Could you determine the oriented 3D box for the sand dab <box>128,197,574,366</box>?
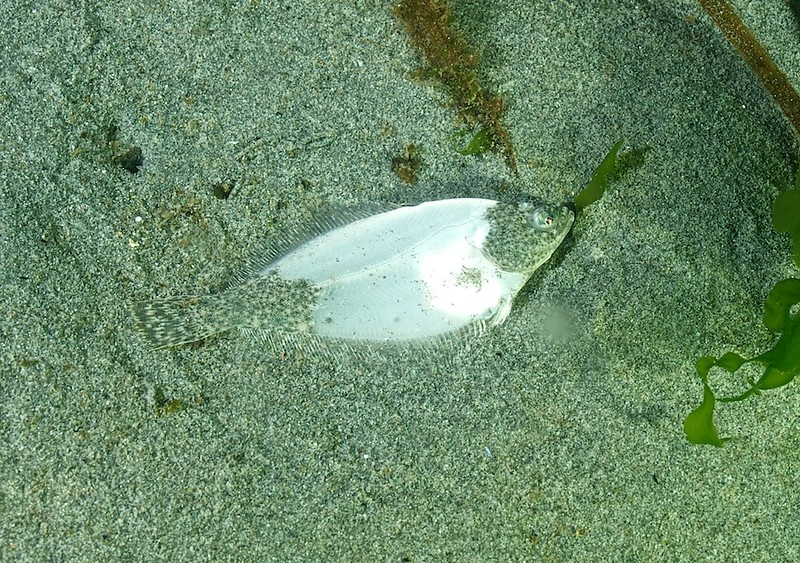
[{"bbox_3d":[-0.174,-0.026,5.780,2.333,0.252,0.831,-3,83,-1],"label":"sand dab"}]
